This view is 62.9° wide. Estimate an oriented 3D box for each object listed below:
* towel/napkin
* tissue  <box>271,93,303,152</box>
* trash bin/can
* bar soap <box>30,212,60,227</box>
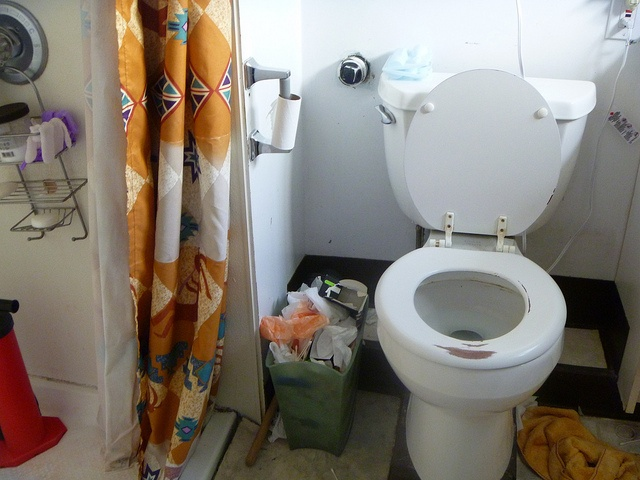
[{"bbox_3d":[-0.682,-0.264,1.328,0.059,0.136,0.139,16,42,-17],"label":"towel/napkin"},{"bbox_3d":[-0.093,-0.303,1.372,0.076,0.142,0.032,-4,20,-10],"label":"tissue "},{"bbox_3d":[-0.001,0.389,1.651,0.262,0.449,0.380,4,21,10],"label":"trash bin/can"},{"bbox_3d":[-0.763,-0.059,1.433,0.051,0.020,0.053,22,35,29],"label":"bar soap"}]
